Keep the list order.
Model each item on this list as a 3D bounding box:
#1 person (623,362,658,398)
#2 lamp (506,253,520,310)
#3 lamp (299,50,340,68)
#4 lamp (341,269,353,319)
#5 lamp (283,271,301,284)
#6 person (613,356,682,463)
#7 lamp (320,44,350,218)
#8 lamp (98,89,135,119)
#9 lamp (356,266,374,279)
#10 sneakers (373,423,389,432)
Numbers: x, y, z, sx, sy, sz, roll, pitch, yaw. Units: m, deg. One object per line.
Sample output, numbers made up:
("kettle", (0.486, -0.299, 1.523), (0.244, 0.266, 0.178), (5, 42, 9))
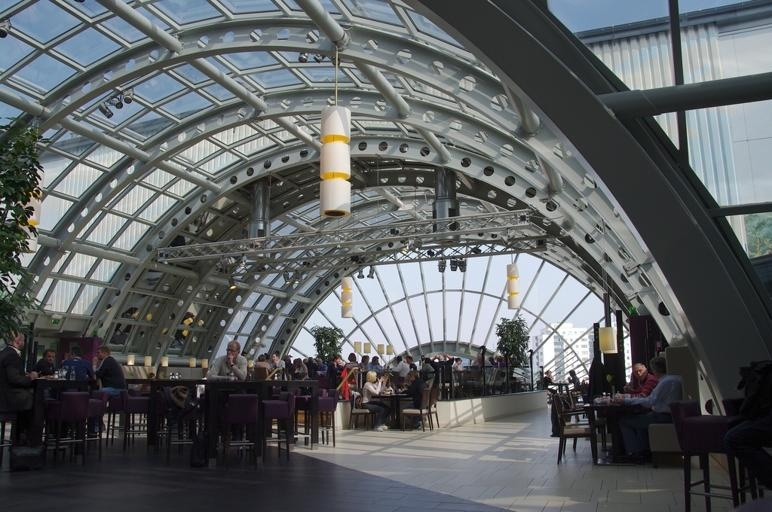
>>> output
("person", (5.360, 2.590, 11.069), (1.036, 0.621, 0.738), (7, -10, -38))
("lamp", (5.540, 1.181, 22.412), (0.442, 1.941, 1.144), (-3, -21, 11))
("lamp", (-1.880, -5.486, 14.753), (0.947, 0.263, 0.962), (4, 1, 27))
("lamp", (-1.750, 1.836, 24.102), (0.472, 1.925, 0.504), (6, -21, -11))
("lamp", (-5.436, 1.351, 30.645), (0.988, 0.450, 1.142), (-1, -12, -3))
("person", (4.948, 2.801, 9.710), (1.064, 1.739, 0.941), (-8, -11, 34))
("lamp", (-0.815, -1.606, 8.728), (0.477, 1.966, 0.546), (-1, -21, 6))
("lamp", (-8.838, -4.936, 17.094), (1.264, 0.527, 0.330), (-27, -39, 7))
("lamp", (-1.119, 1.071, 32.080), (1.458, 0.807, 1.532), (-3, 1, 3))
("sneakers", (-0.121, 5.110, 15.688), (0.484, 0.188, 0.167), (-15, -20, 40))
